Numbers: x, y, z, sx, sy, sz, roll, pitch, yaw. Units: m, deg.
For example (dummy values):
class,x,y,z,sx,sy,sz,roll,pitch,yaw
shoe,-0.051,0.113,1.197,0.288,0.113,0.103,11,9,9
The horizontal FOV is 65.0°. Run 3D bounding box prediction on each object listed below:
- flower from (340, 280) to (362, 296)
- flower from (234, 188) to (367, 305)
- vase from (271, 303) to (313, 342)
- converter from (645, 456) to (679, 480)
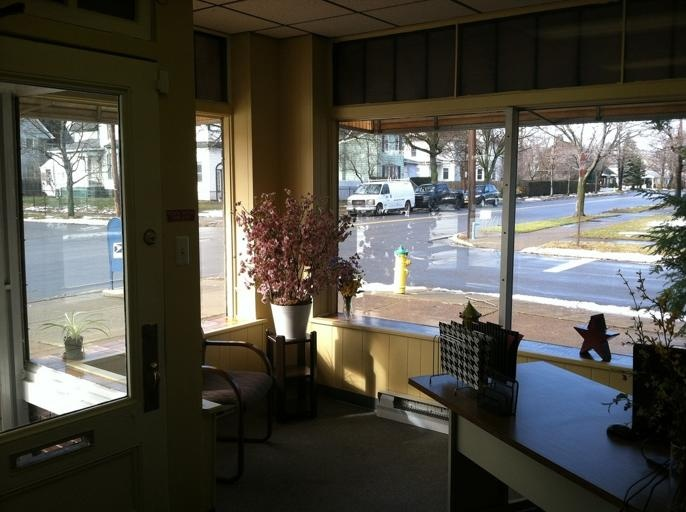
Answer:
class,x,y,z,sx,sy,sz,roll,pitch,yaw
flower,0.053,0.286,4.950,0.155,0.166,0.159,0,-3,-27
flower,-0.335,-0.039,5.111,1.043,1.273,1.116,0,2,22
vase,-0.451,0.553,4.644,0.321,0.243,0.322,0,2,12
converter,1.372,0.898,2.316,0.100,0.034,0.101,1,11,35
